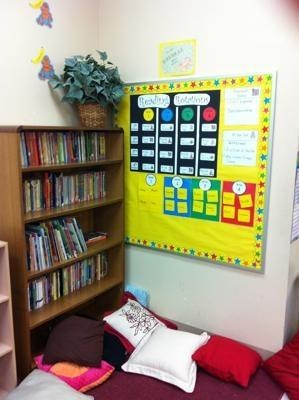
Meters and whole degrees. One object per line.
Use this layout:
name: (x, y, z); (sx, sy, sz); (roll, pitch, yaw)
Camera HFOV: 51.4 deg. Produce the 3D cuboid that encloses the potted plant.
potted plant: (-0.421, -0.727, 2.088); (0.407, 0.408, 0.381); (-7, 11, -14)
